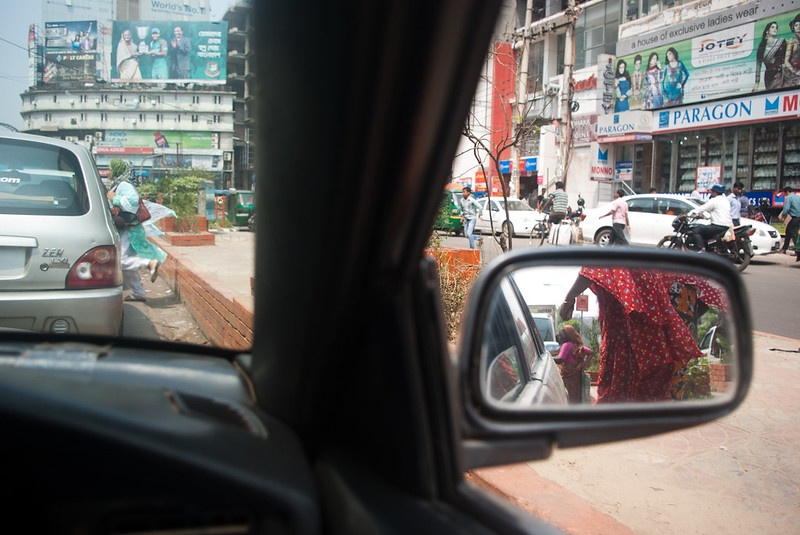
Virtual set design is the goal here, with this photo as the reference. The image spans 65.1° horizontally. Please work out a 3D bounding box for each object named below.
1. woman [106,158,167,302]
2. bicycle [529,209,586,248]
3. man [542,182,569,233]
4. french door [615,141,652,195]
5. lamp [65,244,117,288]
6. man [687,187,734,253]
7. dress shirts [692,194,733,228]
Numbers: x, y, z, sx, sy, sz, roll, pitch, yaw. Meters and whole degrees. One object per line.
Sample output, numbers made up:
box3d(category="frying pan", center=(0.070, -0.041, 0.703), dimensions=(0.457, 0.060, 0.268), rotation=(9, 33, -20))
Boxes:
box3d(category="woman", center=(-2.399, -0.337, 5.667), dimensions=(0.677, 1.227, 0.511), rotation=(-14, -18, 31))
box3d(category="bicycle", center=(2.121, -0.555, 9.016), dimensions=(0.672, 0.325, 0.457), rotation=(10, -6, -36))
box3d(category="man", center=(3.727, -1.419, 14.886), dimensions=(0.562, 1.264, 0.663), rotation=(4, 7, 22))
box3d(category="french door", center=(9.506, -4.220, 25.825), dimensions=(1.378, 2.547, 1.314), rotation=(-19, 15, -24))
box3d(category="lamp", center=(-1.819, -0.003, 3.782), dimensions=(0.316, 0.124, 0.206), rotation=(-9, -12, 39))
box3d(category="man", center=(5.687, -0.833, 11.531), dimensions=(0.654, 1.362, 0.866), rotation=(7, -5, -5))
box3d(category="dress shirts", center=(5.699, -1.050, 11.370), dimensions=(0.863, 0.630, 0.563), rotation=(11, -3, -41))
